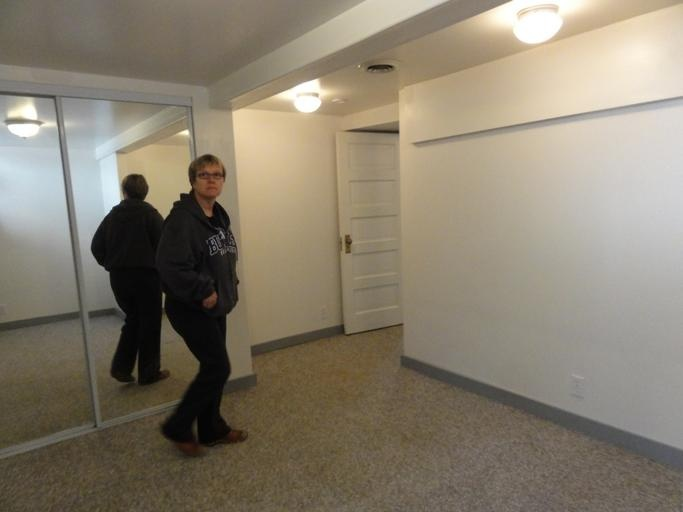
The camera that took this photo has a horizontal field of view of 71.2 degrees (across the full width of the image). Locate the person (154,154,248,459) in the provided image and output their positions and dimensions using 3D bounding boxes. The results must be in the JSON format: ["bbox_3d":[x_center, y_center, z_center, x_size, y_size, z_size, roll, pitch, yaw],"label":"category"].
[{"bbox_3d":[-0.931,0.340,3.253,0.403,2.007,0.605,4,12,27],"label":"person"}]
